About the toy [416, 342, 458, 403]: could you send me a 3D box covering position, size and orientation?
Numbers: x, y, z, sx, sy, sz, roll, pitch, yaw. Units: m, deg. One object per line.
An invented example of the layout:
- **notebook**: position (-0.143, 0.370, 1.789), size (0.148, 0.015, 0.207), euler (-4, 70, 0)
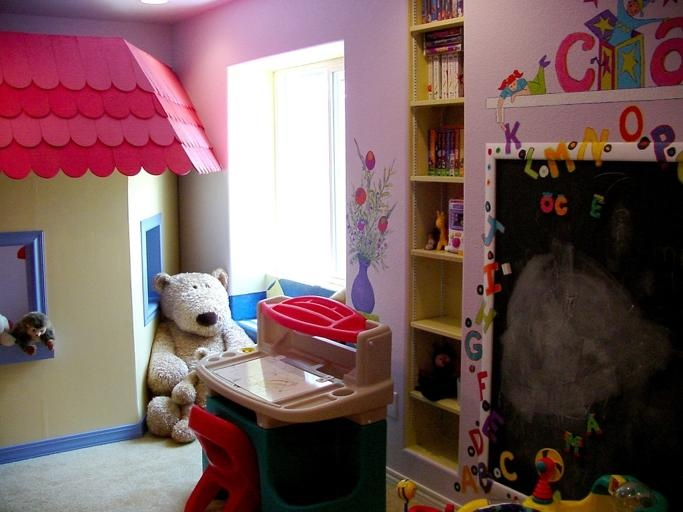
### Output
- **toy**: position (0.542, 0.646, 3.141), size (0.082, 0.306, 0.204), euler (7, -5, -39)

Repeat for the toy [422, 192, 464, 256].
- **toy**: position (0.565, -0.157, 3.013), size (0.299, 0.325, 0.163), euler (-6, 11, -40)

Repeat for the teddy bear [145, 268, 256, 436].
- **teddy bear**: position (-1.018, 0.667, 4.117), size (0.665, 1.100, 0.853), euler (3, 6, -3)

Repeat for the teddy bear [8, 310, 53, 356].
- **teddy bear**: position (-1.841, 0.460, 3.355), size (0.274, 0.173, 0.163), euler (37, 23, 35)
